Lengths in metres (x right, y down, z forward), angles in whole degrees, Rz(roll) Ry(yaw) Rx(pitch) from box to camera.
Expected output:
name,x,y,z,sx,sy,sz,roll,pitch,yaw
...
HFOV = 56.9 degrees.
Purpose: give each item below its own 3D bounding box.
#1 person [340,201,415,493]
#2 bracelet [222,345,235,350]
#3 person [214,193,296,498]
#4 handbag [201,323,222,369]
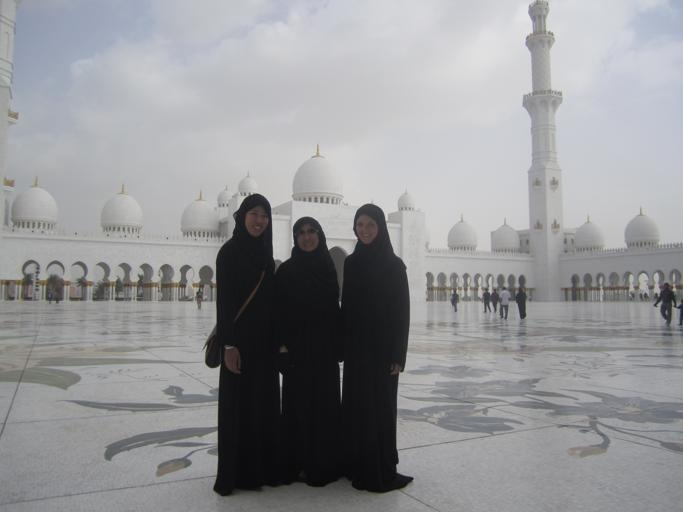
name,x,y,z,sx,sy,sz,roll,pitch,yaw
person,0.211,0.516,3.938,0.435,1.710,0.678,1,1,0
bracelet,-0.692,0.560,3.900,0.062,0.029,0.019,1,1,-7
person,-0.577,0.487,3.910,0.399,1.782,0.676,1,1,-10
handbag,-0.838,0.567,4.078,0.137,0.329,0.117,15,-25,-19
